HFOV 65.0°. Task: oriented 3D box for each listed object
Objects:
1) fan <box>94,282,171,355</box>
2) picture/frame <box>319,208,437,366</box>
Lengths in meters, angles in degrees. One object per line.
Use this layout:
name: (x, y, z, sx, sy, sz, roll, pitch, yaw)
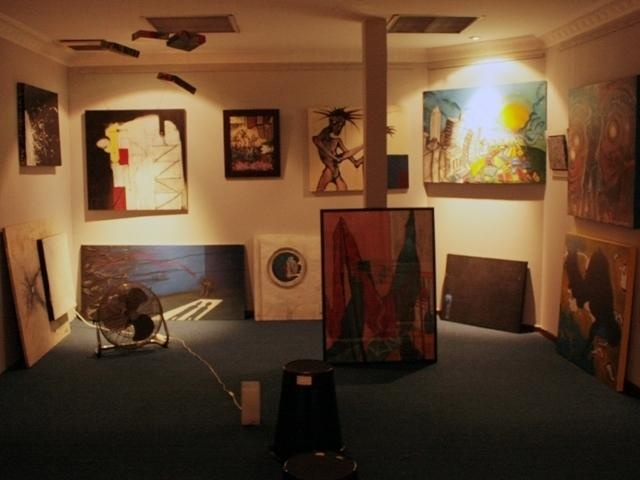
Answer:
fan: (-2.357, 0.960, 6.279, 0.839, 0.921, 0.689, 0, -2, -23)
picture/frame: (0.627, 0.494, 5.585, 1.678, 2.254, 0.100, -1, 1, 1)
